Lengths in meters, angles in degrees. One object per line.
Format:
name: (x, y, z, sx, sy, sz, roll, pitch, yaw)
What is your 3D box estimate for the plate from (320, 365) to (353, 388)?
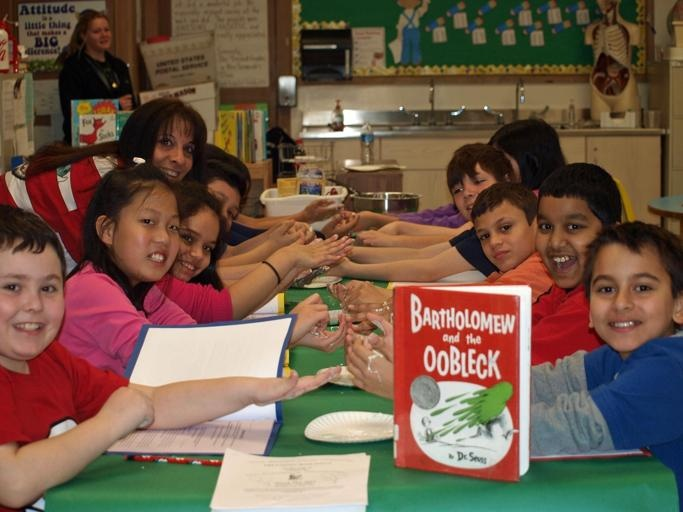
plate: (0.004, 0.267, 1.451, 0.111, 0.047, 0.039, 1, -2, 1)

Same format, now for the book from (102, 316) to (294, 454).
book: (-0.270, 0.244, 1.334, 0.247, 0.107, 0.249, -1, 47, 11)

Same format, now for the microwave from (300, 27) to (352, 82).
microwave: (-0.097, -1.825, 6.212, 0.557, 0.583, 0.412, 0, 4, 2)

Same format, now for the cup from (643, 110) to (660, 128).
cup: (2.783, -1.222, 5.928, 0.152, 0.122, 0.157, 0, 2, 0)

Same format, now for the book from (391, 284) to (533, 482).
book: (0.203, 0.209, 1.079, 0.283, 0.377, 0.131, 2, 3, 22)
